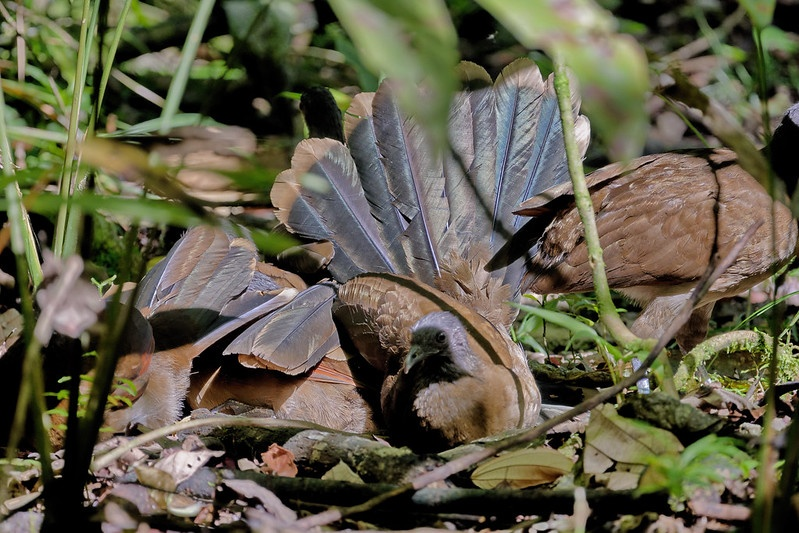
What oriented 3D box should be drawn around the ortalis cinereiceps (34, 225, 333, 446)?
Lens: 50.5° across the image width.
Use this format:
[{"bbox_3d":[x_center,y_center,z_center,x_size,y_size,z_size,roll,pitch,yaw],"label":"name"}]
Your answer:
[{"bbox_3d":[-1.090,0.267,3.984,0.672,0.698,1.029,20,28,38],"label":"ortalis cinereiceps"}]
